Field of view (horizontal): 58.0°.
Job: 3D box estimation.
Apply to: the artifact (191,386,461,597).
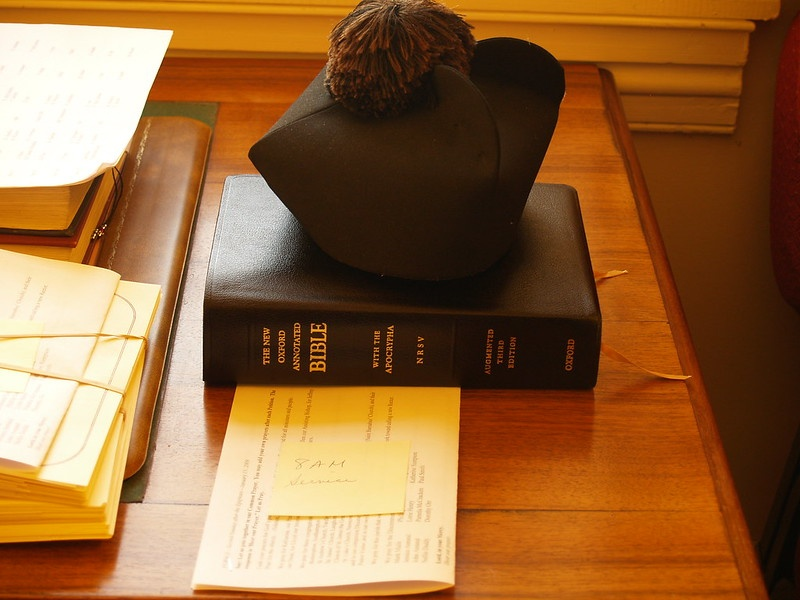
[{"bbox_3d":[-0.047,0.132,0.527,0.177,0.044,0.158,1,61,3],"label":"artifact"}]
